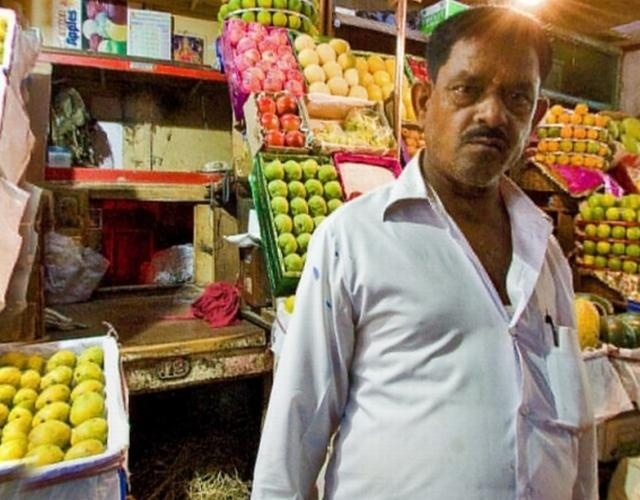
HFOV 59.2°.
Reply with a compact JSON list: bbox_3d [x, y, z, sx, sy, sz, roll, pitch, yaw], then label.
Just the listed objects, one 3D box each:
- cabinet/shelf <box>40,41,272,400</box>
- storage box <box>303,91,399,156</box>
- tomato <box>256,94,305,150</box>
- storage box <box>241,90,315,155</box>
[{"bbox_3d":[-2.085,-0.679,7.090,2.368,4.943,1.298,-4,12,-30],"label":"cabinet/shelf"},{"bbox_3d":[0.241,-0.941,4.244,0.580,0.497,0.416,-3,15,-29],"label":"storage box"},{"bbox_3d":[-0.276,-0.915,3.978,0.275,0.452,0.134,1,-23,-25],"label":"tomato"},{"bbox_3d":[-0.300,-0.942,4.084,0.498,0.432,0.342,-3,15,-29],"label":"storage box"}]
